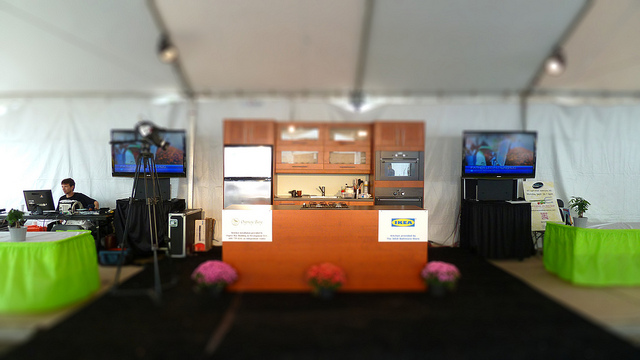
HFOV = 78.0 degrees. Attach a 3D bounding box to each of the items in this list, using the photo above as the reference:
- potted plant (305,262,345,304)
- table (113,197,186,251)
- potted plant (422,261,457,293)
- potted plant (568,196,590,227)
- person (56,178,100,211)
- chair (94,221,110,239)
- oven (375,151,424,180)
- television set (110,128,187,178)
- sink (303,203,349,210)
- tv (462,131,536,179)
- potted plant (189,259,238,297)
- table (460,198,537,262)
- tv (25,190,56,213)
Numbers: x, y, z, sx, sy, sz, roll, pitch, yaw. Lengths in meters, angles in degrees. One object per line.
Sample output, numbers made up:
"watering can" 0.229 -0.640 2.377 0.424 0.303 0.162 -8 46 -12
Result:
"potted plant" 0.015 2.025 7.913 0.858 0.736 0.732 1 -4 -6
"table" -4.559 1.171 10.030 1.196 1.208 1.810 9 -7 -24
"potted plant" 2.416 1.891 7.974 0.619 0.541 0.625 0 -2 19
"potted plant" 5.854 0.706 8.921 0.428 0.681 1.651 -3 0 33
"person" -5.914 0.333 9.586 0.653 0.692 0.309 -17 4 7
"chair" -5.037 1.136 9.234 0.358 0.451 0.338 -1 -4 6
"oven" 1.980 -0.347 9.785 1.165 0.611 0.712 0 -4 1
"television set" -4.190 -0.731 9.744 2.222 1.286 0.126 1 3 16
"sink" 0.111 0.543 7.951 0.883 0.119 0.229 -2 0 -3
"tv" 4.353 -0.642 9.474 1.332 0.774 0.053 0 3 2
"potted plant" -2.115 1.920 7.877 0.797 0.414 0.739 -1 -3 3
"table" 4.284 1.172 9.919 1.894 1.300 1.532 1 2 2
"tv" -6.442 0.489 9.023 0.207 0.460 0.592 -6 -3 25
